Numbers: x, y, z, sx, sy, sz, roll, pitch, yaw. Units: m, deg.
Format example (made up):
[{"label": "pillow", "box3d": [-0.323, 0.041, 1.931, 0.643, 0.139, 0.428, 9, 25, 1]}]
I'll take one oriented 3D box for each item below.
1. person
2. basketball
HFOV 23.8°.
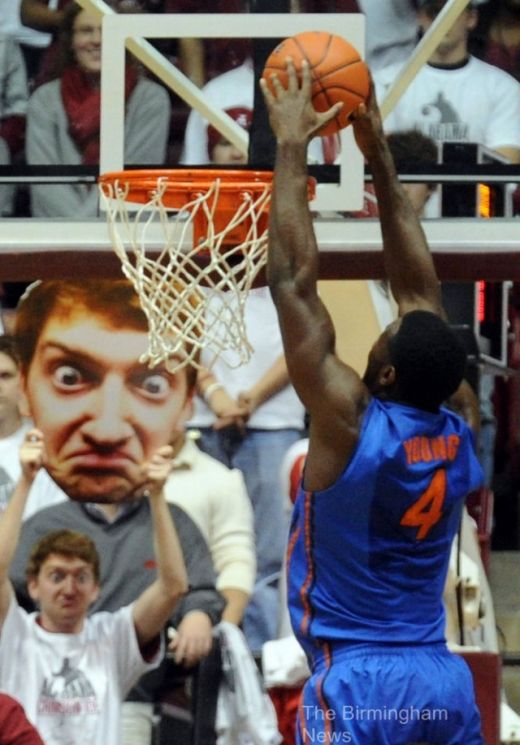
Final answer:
[{"label": "person", "box3d": [0.025, -0.143, 4.165, 1.480, 2.102, 1.084, 5, 14, 23]}, {"label": "basketball", "box3d": [0.165, -0.687, 3.016, 0.305, 0.260, 0.278, 1, -2, 5]}]
